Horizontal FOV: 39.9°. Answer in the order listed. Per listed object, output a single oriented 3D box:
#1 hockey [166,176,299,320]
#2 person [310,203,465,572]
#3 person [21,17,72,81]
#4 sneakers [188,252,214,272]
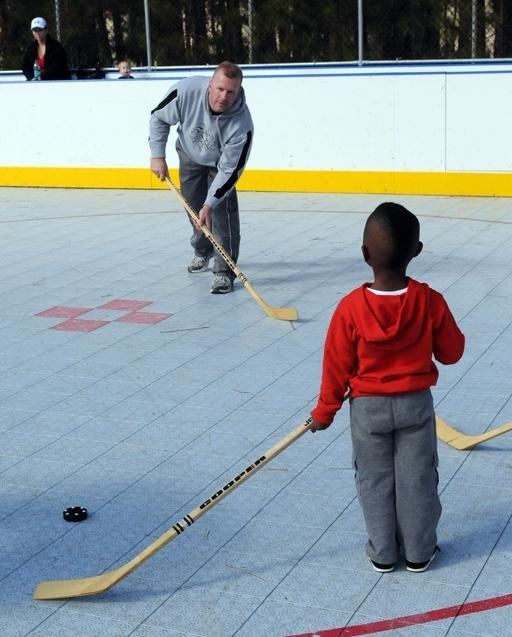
[{"bbox_3d":[-0.377,-0.593,4.445,0.356,0.141,2.049,3,32,-35],"label":"hockey"},{"bbox_3d":[0.312,0.181,1.641,0.383,0.888,0.193,-6,12,3],"label":"person"},{"bbox_3d":[-2.516,-3.231,8.589,0.655,0.739,0.541,-13,20,-10],"label":"person"},{"bbox_3d":[-0.382,-0.366,4.857,0.083,0.087,0.224,4,11,18],"label":"sneakers"}]
